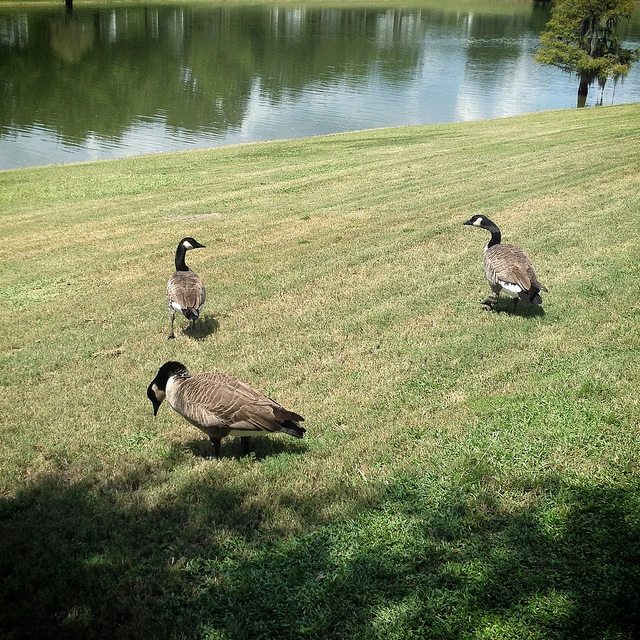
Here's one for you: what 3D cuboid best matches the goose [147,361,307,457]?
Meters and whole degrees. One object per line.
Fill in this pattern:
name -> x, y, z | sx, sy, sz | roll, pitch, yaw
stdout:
goose -> -1.447, 1.407, 12.134 | 2.588, 1.170, 0.745 | 12, 19, 34
